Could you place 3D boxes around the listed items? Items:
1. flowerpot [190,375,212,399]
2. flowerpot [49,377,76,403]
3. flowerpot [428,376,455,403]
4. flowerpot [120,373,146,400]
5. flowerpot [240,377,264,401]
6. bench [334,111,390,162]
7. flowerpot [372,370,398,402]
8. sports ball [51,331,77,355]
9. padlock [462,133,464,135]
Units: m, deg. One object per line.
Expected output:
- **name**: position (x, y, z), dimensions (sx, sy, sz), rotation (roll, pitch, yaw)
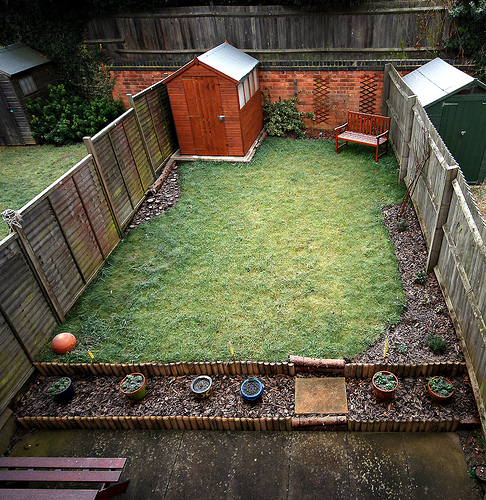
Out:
- **flowerpot**: position (-0.544, 1.837, 4.628), dimensions (0.270, 0.194, 0.282), rotation (-9, 32, -4)
- **flowerpot**: position (-2.481, 1.962, 4.837), dimensions (0.235, 0.273, 0.291), rotation (-3, 31, 6)
- **flowerpot**: position (2.375, 1.658, 4.165), dimensions (0.250, 0.191, 0.277), rotation (1, 43, 5)
- **flowerpot**: position (-1.471, 1.828, 4.658), dimensions (0.289, 0.206, 0.303), rotation (0, 33, -1)
- **flowerpot**: position (0.118, 1.812, 4.483), dimensions (0.272, 0.145, 0.329), rotation (1, 33, 14)
- **bench**: position (3.499, -3.402, 10.182), dimensions (1.425, 1.112, 0.789), rotation (24, 46, 35)
- **flowerpot**: position (1.801, 1.704, 4.306), dimensions (0.288, 0.244, 0.278), rotation (8, 37, 34)
- **sports ball**: position (-2.789, 1.411, 5.416), dimensions (0.296, 0.221, 0.307), rotation (1, 30, -1)
- **padlock**: position (5.068, -2.691, 7.952), dimensions (0.045, 0.039, 0.016), rotation (-8, 30, -2)
